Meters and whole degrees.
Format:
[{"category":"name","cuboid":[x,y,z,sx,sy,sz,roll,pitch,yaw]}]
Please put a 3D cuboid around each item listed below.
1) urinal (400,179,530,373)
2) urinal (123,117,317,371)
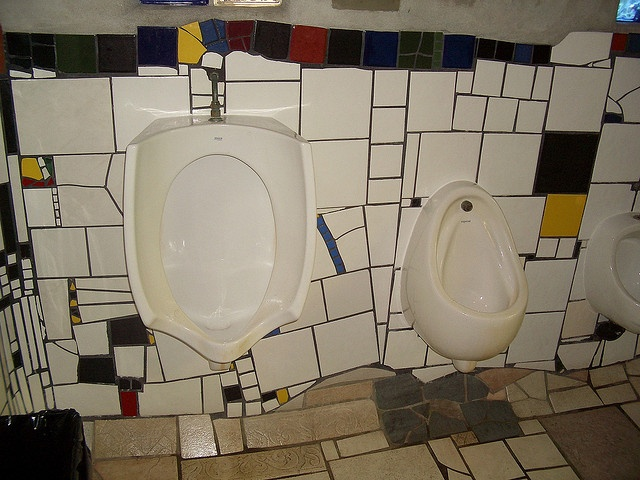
[{"category":"urinal","cuboid":[0.570,0.121,1.950,0.423,0.624,0.404,-3,21,-8]},{"category":"urinal","cuboid":[-0.329,-0.023,1.757,0.625,0.768,0.463,0,21,-1]}]
